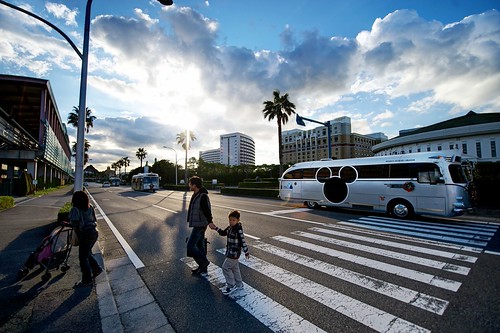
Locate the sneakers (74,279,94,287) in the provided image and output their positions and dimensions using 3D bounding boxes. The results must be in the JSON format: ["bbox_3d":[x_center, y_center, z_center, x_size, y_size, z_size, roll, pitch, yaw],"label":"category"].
[{"bbox_3d":[-4.650,3.313,7.671,0.453,0.186,0.195,10,-6,-15],"label":"sneakers"}]

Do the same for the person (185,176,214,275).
[{"bbox_3d":[-1.503,1.768,8.159,0.792,2.888,0.498,-2,-3,4],"label":"person"}]

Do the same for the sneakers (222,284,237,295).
[{"bbox_3d":[-0.547,3.344,7.309,0.181,0.201,0.448,-14,-20,40],"label":"sneakers"}]

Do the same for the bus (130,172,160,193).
[{"bbox_3d":[-16.095,2.531,42.095,2.373,2.157,6.240,2,-7,-35],"label":"bus"}]

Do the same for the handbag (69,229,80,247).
[{"bbox_3d":[-4.876,1.992,7.602,0.172,0.480,0.271,1,-4,-41],"label":"handbag"}]

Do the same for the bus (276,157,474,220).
[{"bbox_3d":[7.147,1.126,16.320,3.076,2.968,9.482,0,-4,-43],"label":"bus"}]

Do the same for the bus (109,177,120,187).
[{"bbox_3d":[-39.558,4.551,80.105,2.418,2.274,7.185,0,-4,-39],"label":"bus"}]

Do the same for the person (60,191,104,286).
[{"bbox_3d":[-4.706,2.030,7.807,0.625,2.652,0.789,-2,-3,12],"label":"person"}]
